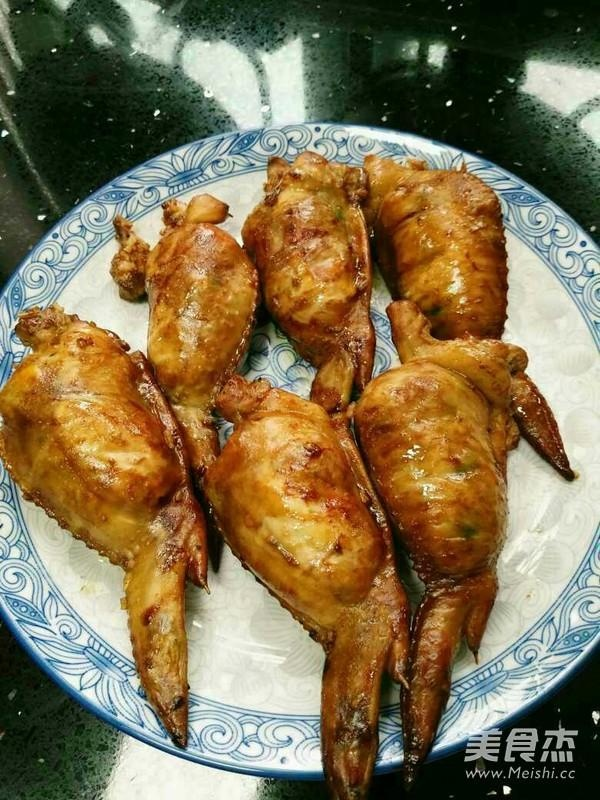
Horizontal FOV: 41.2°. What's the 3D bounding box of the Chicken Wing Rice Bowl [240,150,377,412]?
[{"bbox_3d":[0.026,-0.270,2.049,0.406,0.209,0.571,7,88,-1],"label":"Chicken Wing Rice Bowl"}]
